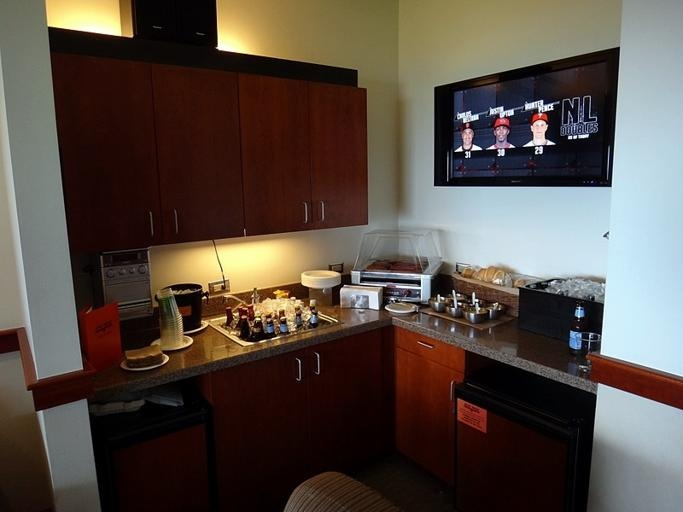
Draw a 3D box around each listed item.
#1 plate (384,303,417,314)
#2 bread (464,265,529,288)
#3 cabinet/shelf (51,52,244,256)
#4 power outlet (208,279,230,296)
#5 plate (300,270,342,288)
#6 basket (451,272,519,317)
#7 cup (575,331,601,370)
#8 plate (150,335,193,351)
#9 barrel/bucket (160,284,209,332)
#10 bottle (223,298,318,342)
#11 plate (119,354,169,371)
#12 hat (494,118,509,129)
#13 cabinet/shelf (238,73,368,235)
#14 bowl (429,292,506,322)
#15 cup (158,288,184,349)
[{"bbox_3d":[0.405,0.351,3.281,0.212,0.028,0.211,-4,11,-13],"label":"plate"},{"bbox_3d":[1.011,0.136,3.203,0.229,0.085,0.181,6,2,9],"label":"bread"},{"bbox_3d":[-1.032,-0.585,2.828,1.058,1.056,0.350,-6,16,-29],"label":"cabinet/shelf"},{"bbox_3d":[-0.819,0.207,3.200,0.099,0.070,0.020,-8,16,-36],"label":"power outlet"},{"bbox_3d":[-0.159,0.165,3.461,0.259,0.109,0.307,-3,11,-8],"label":"plate"},{"bbox_3d":[0.960,0.242,3.153,0.304,0.104,0.198,16,11,41],"label":"basket"},{"bbox_3d":[1.308,0.522,2.557,0.129,0.224,0.134,9,-16,3],"label":"cup"},{"bbox_3d":[-0.917,0.499,2.712,0.116,0.013,0.114,-9,15,-42],"label":"plate"},{"bbox_3d":[-0.962,0.328,2.953,0.255,0.255,0.264,-6,6,1],"label":"barrel/bucket"},{"bbox_3d":[-0.419,0.387,2.974,0.390,0.123,0.275,-6,12,-40],"label":"bottle"},{"bbox_3d":[-1.021,0.555,2.505,0.237,0.042,0.118,-6,12,-21],"label":"plate"},{"bbox_3d":[1.035,-0.868,3.176,0.079,0.065,0.134,4,2,12],"label":"hat"},{"bbox_3d":[-0.298,-0.671,3.297,0.987,0.976,0.361,-11,17,-38],"label":"cabinet/shelf"},{"bbox_3d":[0.805,0.303,3.143,0.283,0.159,0.458,-11,14,-40],"label":"bowl"},{"bbox_3d":[-0.969,0.344,2.730,0.129,0.324,0.193,-5,11,-19],"label":"cup"}]
